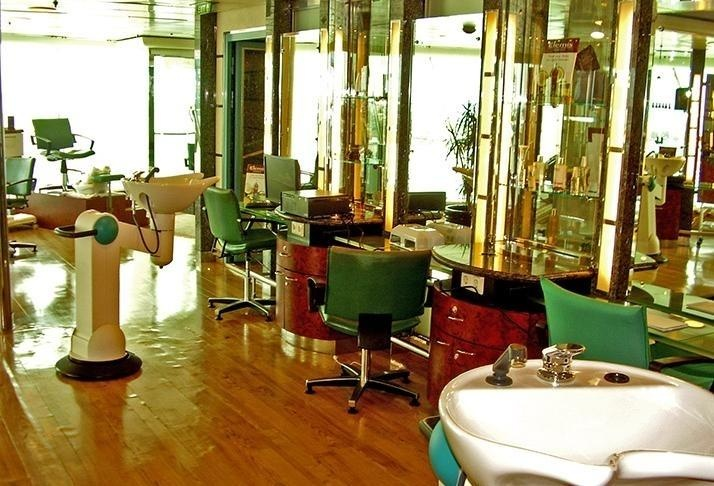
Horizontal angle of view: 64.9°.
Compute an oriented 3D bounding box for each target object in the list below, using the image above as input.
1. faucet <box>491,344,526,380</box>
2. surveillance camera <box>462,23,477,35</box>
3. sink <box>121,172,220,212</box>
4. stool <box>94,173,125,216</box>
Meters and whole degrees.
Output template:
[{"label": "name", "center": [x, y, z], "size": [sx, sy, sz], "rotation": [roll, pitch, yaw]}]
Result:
[{"label": "faucet", "center": [0.602, 0.476, 2.255], "size": [0.127, 0.157, 0.067], "rotation": [11, 21, 39]}, {"label": "surveillance camera", "center": [0.944, -1.799, 4.698], "size": [0.105, 0.068, 0.100], "rotation": [-6, 14, -21]}, {"label": "sink", "center": [-1.518, -0.388, 4.577], "size": [0.709, 0.250, 0.601], "rotation": [-3, 3, -29]}, {"label": "stool", "center": [-4.238, -0.876, 9.625], "size": [0.384, 0.682, 1.376], "rotation": [-7, 14, -24]}]
